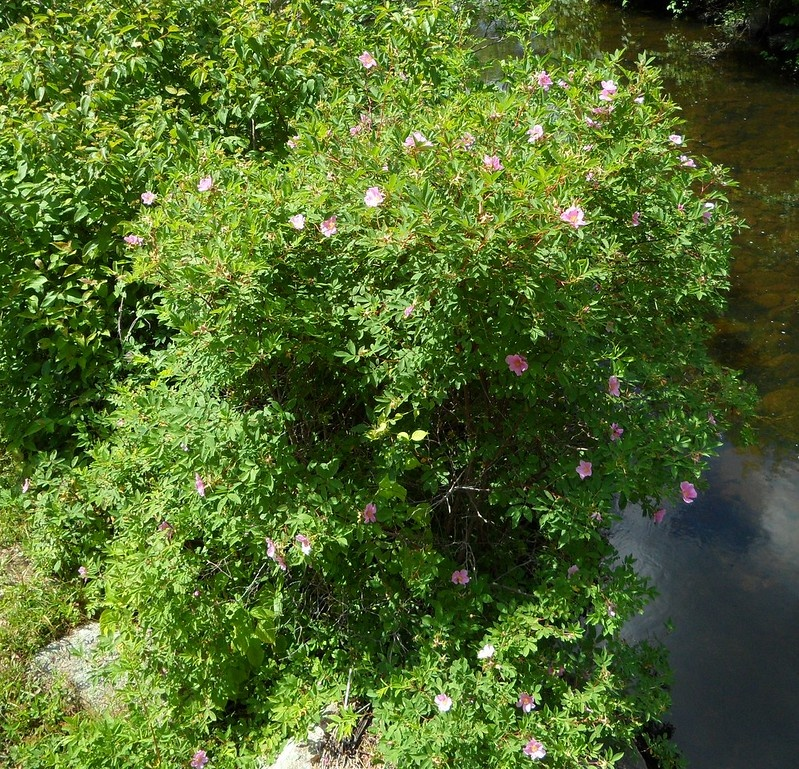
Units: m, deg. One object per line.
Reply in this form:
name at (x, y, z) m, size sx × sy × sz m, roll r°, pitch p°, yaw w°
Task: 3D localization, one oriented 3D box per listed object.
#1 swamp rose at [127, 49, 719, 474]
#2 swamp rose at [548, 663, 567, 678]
swamp rose at (0.167, -0.625, 3.819) m, size 2.595 × 1.963 × 1.248 m, roll -5°, pitch 53°, yaw -5°
swamp rose at (0.731, 1.287, 3.303) m, size 0.073 × 0.116 × 0.058 m, roll 26°, pitch 73°, yaw 6°
